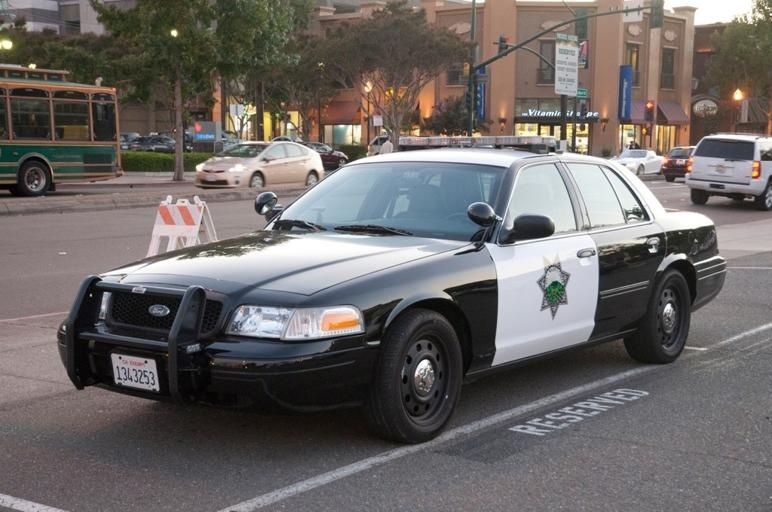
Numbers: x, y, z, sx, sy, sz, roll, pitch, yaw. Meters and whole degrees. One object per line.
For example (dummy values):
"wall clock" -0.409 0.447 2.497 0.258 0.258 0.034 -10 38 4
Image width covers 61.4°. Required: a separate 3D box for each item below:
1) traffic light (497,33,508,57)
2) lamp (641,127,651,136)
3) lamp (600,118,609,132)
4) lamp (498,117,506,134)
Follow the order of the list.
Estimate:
"traffic light" 6.288 -11.192 34.538 0.378 1.154 1.664 2 10 12
"lamp" 26.353 -12.471 65.170 0.724 0.365 1.085 7 6 6
"lamp" 21.443 -12.806 63.373 0.879 1.129 0.921 0 4 4
"lamp" 11.194 -12.533 61.954 1.082 1.638 1.039 -2 9 17
